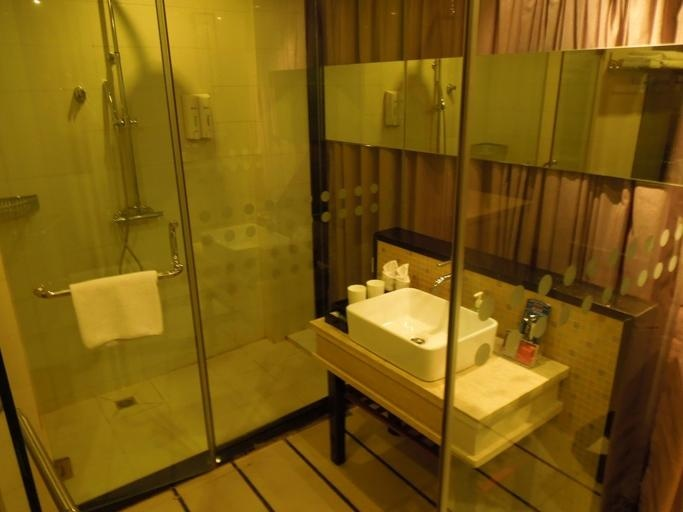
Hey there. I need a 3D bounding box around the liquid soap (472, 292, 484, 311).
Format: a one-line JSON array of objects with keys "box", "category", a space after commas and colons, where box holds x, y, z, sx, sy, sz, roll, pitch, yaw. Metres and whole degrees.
[{"box": [0.429, 0.143, 1.688, 0.030, 0.065, 0.034, -9, 21, -17], "category": "liquid soap"}]

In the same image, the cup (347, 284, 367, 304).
[{"box": [0.070, 0.177, 2.465, 0.075, 0.090, 0.080, 0, 17, 0], "category": "cup"}]

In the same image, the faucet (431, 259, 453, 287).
[{"box": [0.394, 0.067, 2.086, 0.113, 0.116, 0.033, -21, 30, -24], "category": "faucet"}]

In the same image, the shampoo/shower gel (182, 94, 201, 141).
[{"box": [-0.685, -0.630, 2.460, 0.086, 0.199, 0.028, -10, 24, -15], "category": "shampoo/shower gel"}]

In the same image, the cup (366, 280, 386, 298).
[{"box": [0.160, 0.148, 2.431, 0.073, 0.078, 0.075, 0, 21, 0], "category": "cup"}]

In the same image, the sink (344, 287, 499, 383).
[{"box": [0.287, 0.305, 2.118, 0.328, 0.161, 0.464, -12, 18, -36], "category": "sink"}]

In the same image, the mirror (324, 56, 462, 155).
[{"box": [0.266, -0.683, 2.461, 0.032, 0.485, 1.012, -16, 12, 22], "category": "mirror"}]
